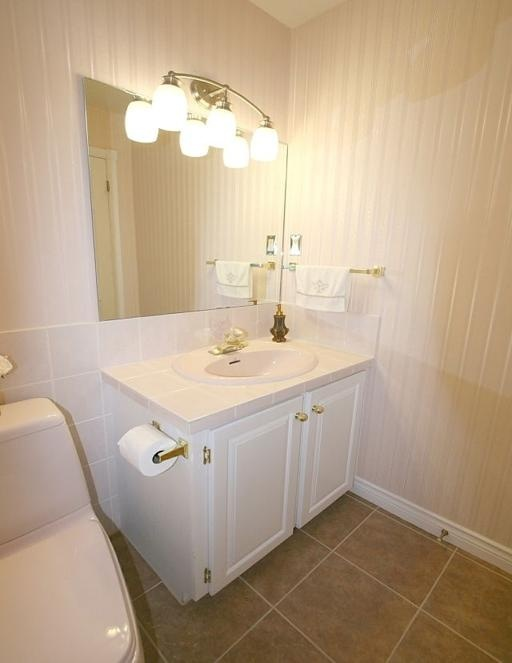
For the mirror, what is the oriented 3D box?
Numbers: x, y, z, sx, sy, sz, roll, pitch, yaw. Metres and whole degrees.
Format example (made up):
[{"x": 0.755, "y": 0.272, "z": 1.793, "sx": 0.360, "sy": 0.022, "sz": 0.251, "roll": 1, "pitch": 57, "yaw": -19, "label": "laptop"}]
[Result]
[{"x": -0.278, "y": -0.510, "z": 1.735, "sx": 0.012, "sy": 0.756, "sz": 0.907, "roll": 14, "pitch": 19, "yaw": 36, "label": "mirror"}]

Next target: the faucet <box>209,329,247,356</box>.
[{"x": -0.114, "y": 0.030, "z": 1.932, "sx": 0.066, "sy": 0.099, "sz": 0.220, "roll": 12, "pitch": 13, "yaw": 27, "label": "faucet"}]

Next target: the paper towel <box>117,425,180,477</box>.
[{"x": -0.314, "y": 0.356, "z": 1.393, "sx": 0.114, "sy": 0.128, "sz": 0.162, "roll": -15, "pitch": 18, "yaw": -38, "label": "paper towel"}]

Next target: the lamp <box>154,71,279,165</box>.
[{"x": -0.168, "y": -0.784, "z": 1.694, "sx": 0.518, "sy": 0.263, "sz": 0.327, "roll": -9, "pitch": 21, "yaw": -34, "label": "lamp"}]

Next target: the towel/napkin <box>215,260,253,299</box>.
[{"x": -0.104, "y": -0.232, "z": 2.029, "sx": 0.052, "sy": 0.152, "sz": 0.137, "roll": 16, "pitch": 18, "yaw": 41, "label": "towel/napkin"}]
